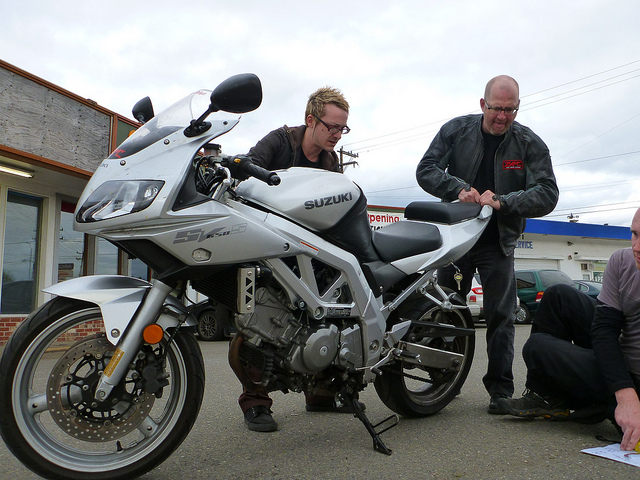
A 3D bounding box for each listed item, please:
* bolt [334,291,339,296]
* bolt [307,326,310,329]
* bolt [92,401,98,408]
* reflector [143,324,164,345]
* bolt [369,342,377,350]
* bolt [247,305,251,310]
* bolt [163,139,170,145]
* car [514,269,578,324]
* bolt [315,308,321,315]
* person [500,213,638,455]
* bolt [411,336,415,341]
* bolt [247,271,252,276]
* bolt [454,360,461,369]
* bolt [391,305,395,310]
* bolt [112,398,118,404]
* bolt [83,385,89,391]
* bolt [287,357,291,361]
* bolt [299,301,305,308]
[{"bbox_3d":[0.098,0.335,2.953,0.028,0.011,0.030,2,16,-7],"label":"bolt"},{"bbox_3d":[-0.074,0.531,2.842,0.015,0.006,0.019,1,6,-27],"label":"bolt"},{"bbox_3d":[-1.151,0.841,2.388,0.024,0.026,0.004,1,-6,-13],"label":"bolt"},{"bbox_3d":[-0.872,0.489,2.441,0.104,0.098,0.033,3,-7,-29],"label":"reflector"},{"bbox_3d":[0.349,0.709,3.112,0.053,0.047,0.020,10,-6,-33],"label":"bolt"},{"bbox_3d":[-0.404,0.378,2.617,0.027,0.015,0.025,-3,-34,-10],"label":"bolt"},{"bbox_3d":[-0.846,-0.532,2.561,0.033,0.030,0.009,2,-5,-15],"label":"bolt"},{"bbox_3d":[6.857,1.765,14.591,1.534,1.672,1.007,2,-6,-24],"label":"car"},{"bbox_3d":[-0.016,0.436,2.834,0.009,0.032,0.037,2,1,37],"label":"bolt"},{"bbox_3d":[1.929,0.634,3.358,0.536,1.472,1.000,3,-7,-28],"label":"person"},{"bbox_3d":[0.671,0.713,3.380,0.026,0.026,0.027,2,1,-6],"label":"bolt"},{"bbox_3d":[-0.395,0.186,2.608,0.024,0.021,0.005,0,-6,-9],"label":"bolt"},{"bbox_3d":[1.051,0.953,3.592,0.056,0.051,0.013,12,0,-31],"label":"bolt"},{"bbox_3d":[0.512,0.482,3.304,0.015,0.018,0.032,-12,-19,42],"label":"bolt"},{"bbox_3d":[-1.060,0.829,2.413,0.024,0.032,0.014,1,-6,-18],"label":"bolt"},{"bbox_3d":[-1.191,0.749,2.375,0.027,0.029,0.003,0,-6,-8],"label":"bolt"},{"bbox_3d":[-0.189,0.710,2.784,0.016,0.014,0.016,-4,-9,28],"label":"bolt"},{"bbox_3d":[-0.114,0.386,2.801,0.012,0.030,0.032,-8,-31,37],"label":"bolt"}]
